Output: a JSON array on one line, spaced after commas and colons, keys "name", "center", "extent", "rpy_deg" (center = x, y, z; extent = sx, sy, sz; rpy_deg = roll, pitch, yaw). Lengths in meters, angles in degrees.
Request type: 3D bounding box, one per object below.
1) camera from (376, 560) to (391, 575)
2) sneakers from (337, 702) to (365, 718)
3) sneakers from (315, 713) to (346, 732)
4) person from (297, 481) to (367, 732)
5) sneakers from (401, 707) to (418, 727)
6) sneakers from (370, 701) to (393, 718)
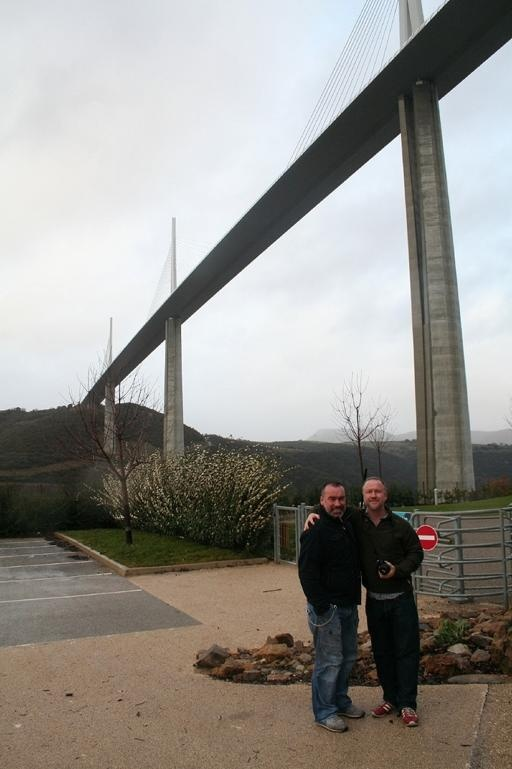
[{"name": "camera", "center": [0.828, 1.209, 3.660], "extent": [0.066, 0.100, 0.094], "rpy_deg": [-2, 9, 8]}, {"name": "sneakers", "center": [0.620, 2.140, 3.687], "extent": [0.168, 0.077, 0.069], "rpy_deg": [-6, -11, 18]}, {"name": "sneakers", "center": [0.464, 2.133, 3.507], "extent": [0.193, 0.080, 0.068], "rpy_deg": [-22, -28, 34]}, {"name": "person", "center": [0.476, 1.430, 3.670], "extent": [0.306, 1.535, 0.440], "rpy_deg": [-5, -6, 28]}, {"name": "sneakers", "center": [0.933, 2.045, 3.425], "extent": [0.089, 0.088, 0.133], "rpy_deg": [-4, -6, 10]}, {"name": "sneakers", "center": [0.812, 2.125, 3.655], "extent": [0.155, 0.073, 0.060], "rpy_deg": [20, -23, -35]}]
